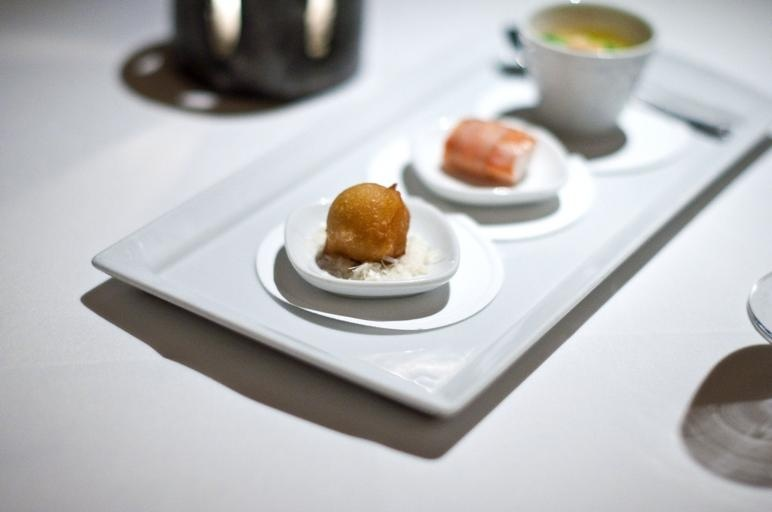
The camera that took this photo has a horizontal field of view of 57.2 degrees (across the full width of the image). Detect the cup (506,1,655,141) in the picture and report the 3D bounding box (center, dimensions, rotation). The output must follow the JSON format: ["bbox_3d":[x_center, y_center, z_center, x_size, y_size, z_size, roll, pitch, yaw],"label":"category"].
[{"bbox_3d":[0.322,-0.296,1.261,0.209,0.168,0.223,-1,42,0],"label":"cup"}]
